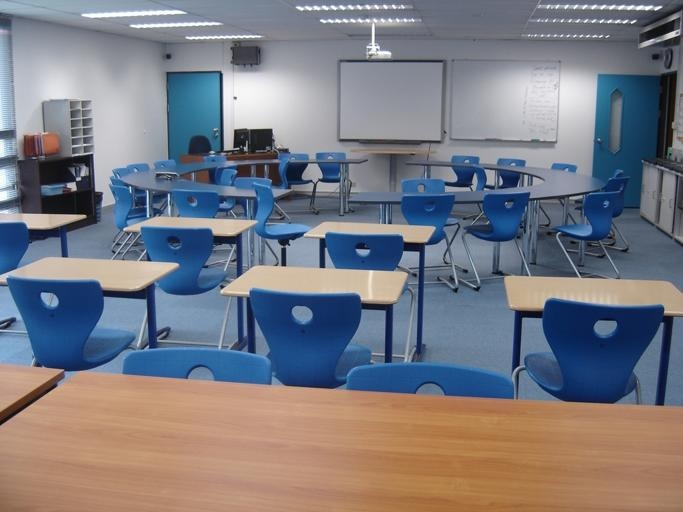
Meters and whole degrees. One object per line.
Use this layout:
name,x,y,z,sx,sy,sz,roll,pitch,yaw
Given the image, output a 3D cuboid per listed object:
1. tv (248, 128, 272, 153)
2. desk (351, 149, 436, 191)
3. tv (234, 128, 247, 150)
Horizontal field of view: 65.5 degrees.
tv,-1.618,-2.275,10.494,0.444,0.406,0.224,-7,19,-26
desk,1.125,-2.106,11.019,1.697,1.152,0.986,-1,13,1
tv,-1.963,-2.258,10.391,0.272,0.399,0.269,-3,14,-11
